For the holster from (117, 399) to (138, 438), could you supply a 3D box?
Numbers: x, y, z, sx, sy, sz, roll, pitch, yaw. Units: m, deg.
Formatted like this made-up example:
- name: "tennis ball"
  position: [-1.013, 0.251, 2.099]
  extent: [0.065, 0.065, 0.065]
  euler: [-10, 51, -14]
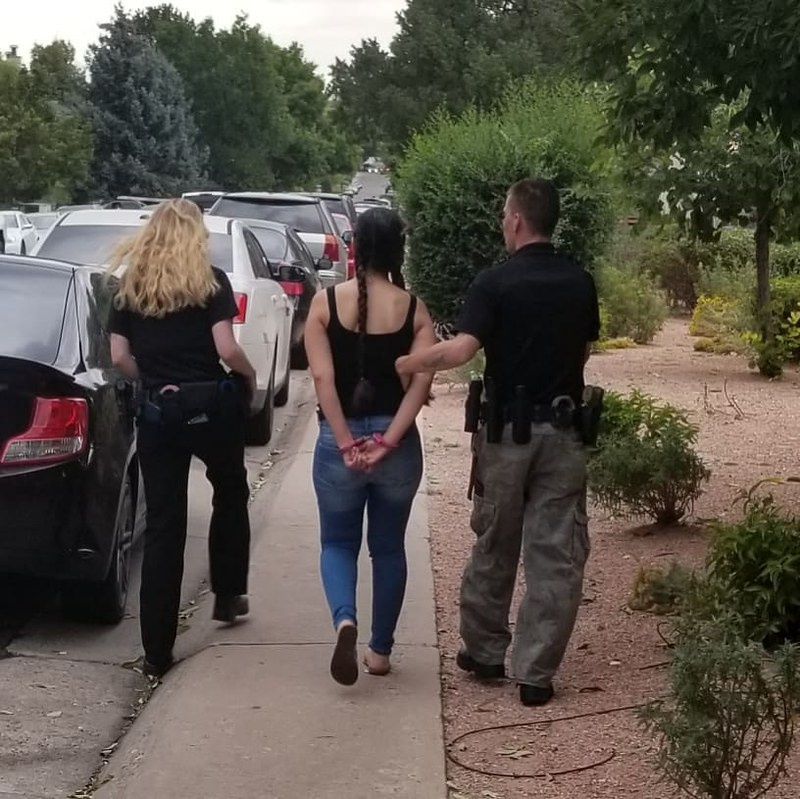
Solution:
- name: "holster"
  position: [-1.173, 0.075, 4.113]
  extent: [0.108, 0.161, 0.151]
  euler: [1, 4, -3]

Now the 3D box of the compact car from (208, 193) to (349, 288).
- name: "compact car"
  position: [-1.633, -2.634, 15.778]
  extent: [1.344, 1.308, 3.042]
  euler: [1, 8, 6]

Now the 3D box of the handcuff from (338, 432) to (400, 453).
- name: "handcuff"
  position: [-0.113, 0.151, 3.423]
  extent: [0.205, 0.065, 0.063]
  euler: [-3, 5, -7]

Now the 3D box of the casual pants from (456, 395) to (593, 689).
- name: "casual pants"
  position: [0.459, 0.555, 3.590]
  extent: [0.426, 0.978, 0.295]
  euler: [2, -5, 26]

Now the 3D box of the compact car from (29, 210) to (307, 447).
- name: "compact car"
  position: [-1.660, -0.800, 8.382]
  extent: [1.378, 1.189, 3.099]
  euler: [4, 12, 4]

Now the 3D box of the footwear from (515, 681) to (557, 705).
- name: "footwear"
  position: [0.496, 1.069, 3.484]
  extent: [0.141, 0.064, 0.056]
  euler: [-2, 5, 8]

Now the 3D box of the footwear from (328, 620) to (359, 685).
- name: "footwear"
  position: [-0.189, 0.871, 3.289]
  extent: [0.081, 0.215, 0.114]
  euler: [-2, 5, 2]

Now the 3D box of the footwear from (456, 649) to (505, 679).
- name: "footwear"
  position: [0.315, 1.046, 3.780]
  extent: [0.083, 0.098, 0.211]
  euler: [-5, 16, -29]

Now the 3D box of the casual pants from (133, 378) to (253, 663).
- name: "casual pants"
  position: [-0.818, 0.503, 4.026]
  extent: [0.357, 1.141, 0.584]
  euler: [0, 6, 17]

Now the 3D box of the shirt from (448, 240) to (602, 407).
- name: "shirt"
  position: [0.479, -0.279, 3.479]
  extent: [0.572, 0.587, 0.248]
  euler: [-2, 5, -5]
